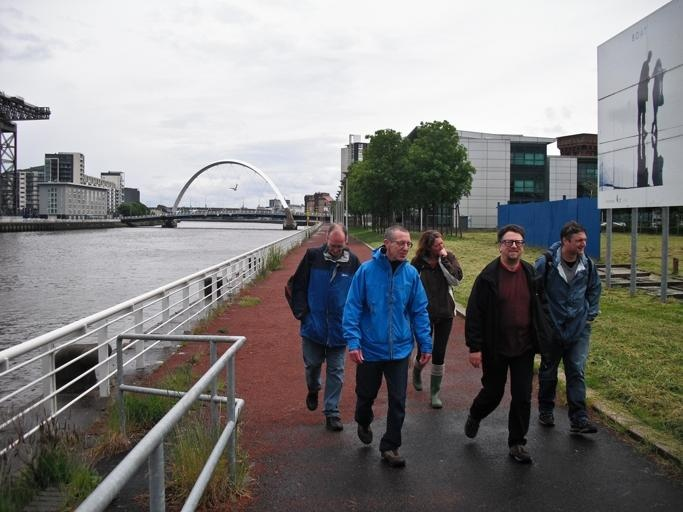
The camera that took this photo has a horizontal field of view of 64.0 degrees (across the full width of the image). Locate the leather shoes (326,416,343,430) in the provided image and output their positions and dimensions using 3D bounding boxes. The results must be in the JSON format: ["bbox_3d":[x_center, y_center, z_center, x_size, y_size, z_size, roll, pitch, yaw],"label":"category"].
[{"bbox_3d":[-0.072,1.747,5.767,0.175,0.115,0.236,0,7,-3],"label":"leather shoes"}]

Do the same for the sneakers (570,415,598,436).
[{"bbox_3d":[2.443,1.729,5.627,0.143,0.183,0.345,3,-9,-41],"label":"sneakers"}]

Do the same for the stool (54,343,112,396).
[{"bbox_3d":[-3.386,1.378,7.059,0.619,0.674,0.515,-1,18,-26],"label":"stool"}]

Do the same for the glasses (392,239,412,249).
[{"bbox_3d":[0.567,-0.118,4.989,0.148,0.069,0.208,1,7,2],"label":"glasses"}]

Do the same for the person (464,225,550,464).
[{"bbox_3d":[1.541,0.789,5.146,0.724,2.158,0.428,2,6,18],"label":"person"}]

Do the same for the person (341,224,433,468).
[{"bbox_3d":[0.420,0.794,5.072,0.797,2.146,0.542,1,6,9],"label":"person"}]

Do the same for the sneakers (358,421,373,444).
[{"bbox_3d":[0.228,1.718,5.356,0.084,0.202,0.278,-3,10,-3],"label":"sneakers"}]

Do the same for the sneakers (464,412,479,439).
[{"bbox_3d":[1.296,1.709,5.504,0.098,0.319,0.208,1,9,-1],"label":"sneakers"}]

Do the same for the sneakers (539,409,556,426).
[{"bbox_3d":[2.211,1.755,5.891,0.077,0.116,0.250,-1,-6,2],"label":"sneakers"}]

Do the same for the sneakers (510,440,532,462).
[{"bbox_3d":[1.655,1.813,5.087,0.158,0.142,0.238,0,7,-10],"label":"sneakers"}]

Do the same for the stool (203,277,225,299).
[{"bbox_3d":[-3.316,0.800,14.035,0.562,0.627,0.606,0,-6,1],"label":"stool"}]

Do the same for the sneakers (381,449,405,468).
[{"bbox_3d":[0.471,1.832,4.983,0.098,0.128,0.240,1,-6,-30],"label":"sneakers"}]

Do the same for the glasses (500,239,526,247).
[{"bbox_3d":[1.578,-0.125,5.074,0.195,0.071,0.144,2,7,12],"label":"glasses"}]

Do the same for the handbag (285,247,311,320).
[{"bbox_3d":[-0.495,0.341,6.115,0.404,0.655,0.237,0,-5,-5],"label":"handbag"}]
